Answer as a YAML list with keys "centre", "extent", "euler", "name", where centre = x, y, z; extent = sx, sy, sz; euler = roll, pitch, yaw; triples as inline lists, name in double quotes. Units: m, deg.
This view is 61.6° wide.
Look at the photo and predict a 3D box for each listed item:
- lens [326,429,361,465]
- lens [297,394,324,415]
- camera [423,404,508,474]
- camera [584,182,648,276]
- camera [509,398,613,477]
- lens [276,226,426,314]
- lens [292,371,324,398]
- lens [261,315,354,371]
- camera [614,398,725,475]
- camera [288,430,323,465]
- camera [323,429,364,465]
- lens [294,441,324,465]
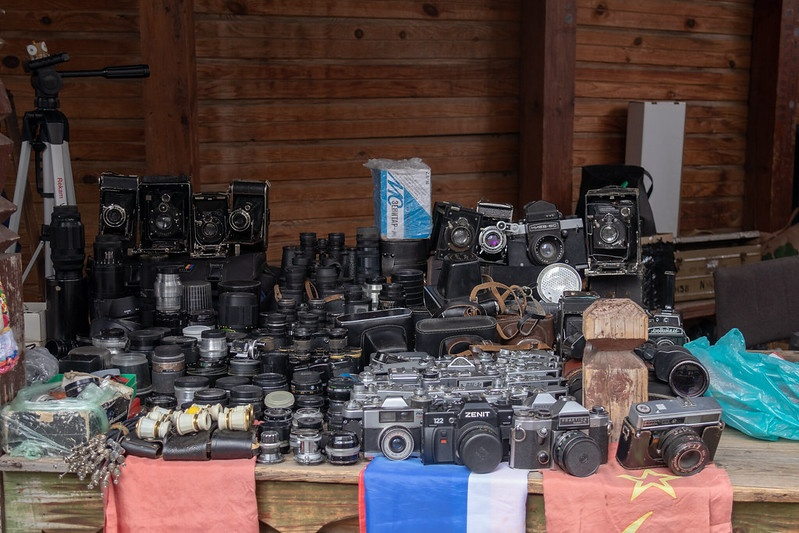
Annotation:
- centre: [-0.239, 0.765, 2.846]
  extent: [0.165, 0.113, 0.153]
  euler: [1, 3, 6]
  name: "lens"
- centre: [-0.403, 0.631, 3.063]
  extent: [0.099, 0.047, 0.091]
  euler: [1, -3, -3]
  name: "lens"
- centre: [0.291, 0.694, 2.767]
  extent: [0.430, 0.243, 0.286]
  euler: [-2, 6, -2]
  name: "camera"
- centre: [1.413, -0.237, 4.472]
  extent: [0.363, 0.562, 0.200]
  euler: [-3, -1, 15]
  name: "camera"
- centre: [0.647, 0.687, 2.714]
  extent: [0.388, 0.217, 0.332]
  euler: [0, 0, -15]
  name: "camera"
- centre: [-0.333, 0.004, 4.351]
  extent: [0.619, 0.312, 0.829]
  euler: [-3, 6, -35]
  name: "lens"
- centre: [-0.420, 0.553, 3.142]
  extent: [0.119, 0.063, 0.117]
  euler: [0, 1, -44]
  name: "lens"
- centre: [-0.432, 0.405, 3.463]
  extent: [0.357, 0.109, 0.332]
  euler: [2, 13, -2]
  name: "lens"
- centre: [1.127, 0.705, 2.742]
  extent: [0.420, 0.253, 0.220]
  euler: [-1, 24, -12]
  name: "camera"
- centre: [-0.386, 0.759, 2.818]
  extent: [0.152, 0.085, 0.139]
  euler: [0, 0, -3]
  name: "camera"
- centre: [-0.229, 0.759, 2.847]
  extent: [0.155, 0.110, 0.141]
  euler: [1, -2, -8]
  name: "camera"
- centre: [-0.379, 0.786, 2.813]
  extent: [0.118, 0.067, 0.109]
  euler: [0, 2, 10]
  name: "lens"
